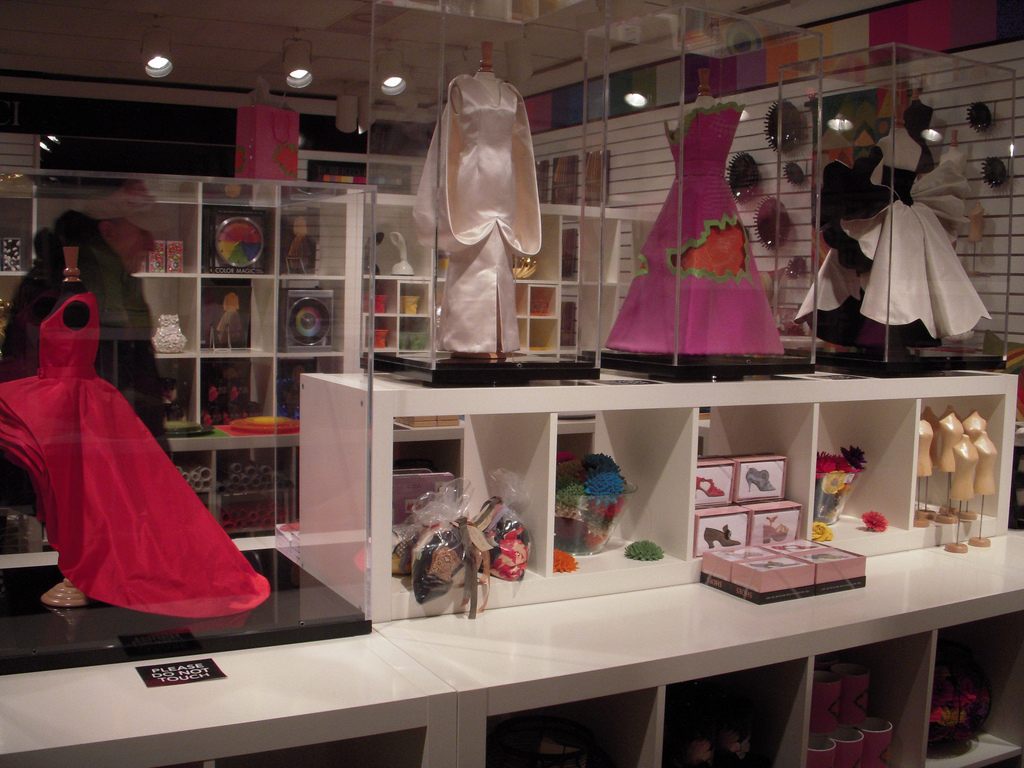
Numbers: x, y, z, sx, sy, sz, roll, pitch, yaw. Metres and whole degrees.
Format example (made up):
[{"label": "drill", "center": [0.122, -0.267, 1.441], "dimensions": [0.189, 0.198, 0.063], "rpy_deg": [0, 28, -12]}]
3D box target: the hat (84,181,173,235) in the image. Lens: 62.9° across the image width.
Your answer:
[{"label": "hat", "center": [-0.794, -0.368, 1.734], "dimensions": [0.113, 0.096, 0.093], "rpy_deg": [2, 16, -11]}]
